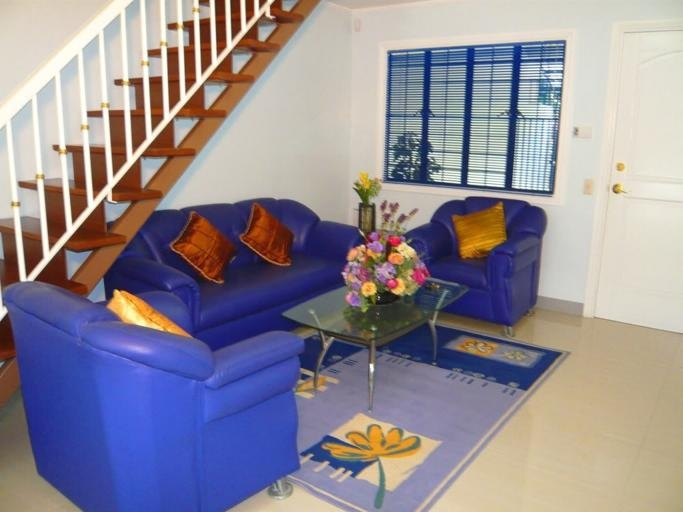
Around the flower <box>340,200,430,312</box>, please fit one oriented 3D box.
[{"bbox_3d":[0.343,-0.006,3.848,0.523,0.676,0.526,4,15,-41],"label":"flower"}]

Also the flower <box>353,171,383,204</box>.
[{"bbox_3d":[0.293,-0.742,5.743,0.378,0.388,0.383,5,15,9],"label":"flower"}]

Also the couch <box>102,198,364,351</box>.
[{"bbox_3d":[-0.842,0.131,4.579,1.029,0.981,2.143,18,22,35],"label":"couch"}]

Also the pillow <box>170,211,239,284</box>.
[{"bbox_3d":[-1.001,-0.139,4.354,0.616,0.638,0.169,24,27,3],"label":"pillow"}]

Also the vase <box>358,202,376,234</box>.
[{"bbox_3d":[0.324,-0.415,5.751,0.206,0.317,0.210,2,3,-15],"label":"vase"}]

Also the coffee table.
[{"bbox_3d":[0.140,0.250,3.720,0.820,0.604,1.229,12,22,34],"label":"coffee table"}]

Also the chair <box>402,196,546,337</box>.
[{"bbox_3d":[1.267,0.010,5.056,1.067,1.015,0.857,8,21,36],"label":"chair"}]
